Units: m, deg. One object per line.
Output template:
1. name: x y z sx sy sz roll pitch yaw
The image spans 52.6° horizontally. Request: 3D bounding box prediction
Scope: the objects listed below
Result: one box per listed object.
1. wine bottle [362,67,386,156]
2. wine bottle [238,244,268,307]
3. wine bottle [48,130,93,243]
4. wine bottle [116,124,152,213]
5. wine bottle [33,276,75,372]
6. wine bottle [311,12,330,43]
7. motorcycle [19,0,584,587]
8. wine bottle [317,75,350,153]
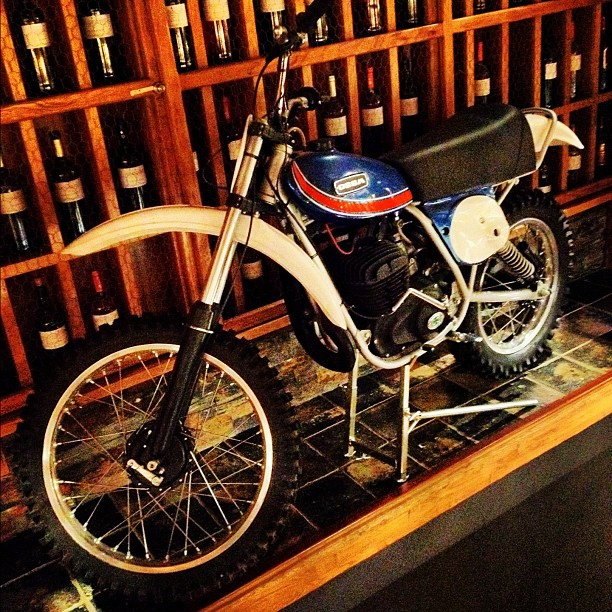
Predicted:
1. wine bottle: 0.265 -0.765 2.422 0.093 0.316 0.085 -5 24 2
2. wine bottle: -0.197 -0.109 2.267 0.080 0.269 0.068 -16 49 -6
3. wine bottle: -0.714 -0.363 1.960 0.125 0.358 0.120 4 29 -3
4. wine bottle: -0.572 -0.453 2.032 0.084 0.311 0.085 -4 36 3
5. wine bottle: -0.794 0.059 1.944 0.125 0.287 0.114 10 27 -2
6. wine bottle: 0.060 -0.994 2.229 0.053 0.093 0.100 -7 14 43
7. motorcycle: 0.082 -0.155 2.659 2.769 1.571 1.220 -15 23 -33
8. wine bottle: 0.104 -0.711 2.303 0.122 0.265 0.113 -4 27 2
